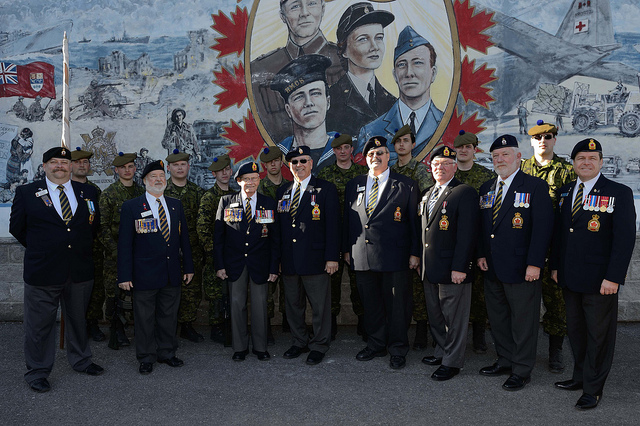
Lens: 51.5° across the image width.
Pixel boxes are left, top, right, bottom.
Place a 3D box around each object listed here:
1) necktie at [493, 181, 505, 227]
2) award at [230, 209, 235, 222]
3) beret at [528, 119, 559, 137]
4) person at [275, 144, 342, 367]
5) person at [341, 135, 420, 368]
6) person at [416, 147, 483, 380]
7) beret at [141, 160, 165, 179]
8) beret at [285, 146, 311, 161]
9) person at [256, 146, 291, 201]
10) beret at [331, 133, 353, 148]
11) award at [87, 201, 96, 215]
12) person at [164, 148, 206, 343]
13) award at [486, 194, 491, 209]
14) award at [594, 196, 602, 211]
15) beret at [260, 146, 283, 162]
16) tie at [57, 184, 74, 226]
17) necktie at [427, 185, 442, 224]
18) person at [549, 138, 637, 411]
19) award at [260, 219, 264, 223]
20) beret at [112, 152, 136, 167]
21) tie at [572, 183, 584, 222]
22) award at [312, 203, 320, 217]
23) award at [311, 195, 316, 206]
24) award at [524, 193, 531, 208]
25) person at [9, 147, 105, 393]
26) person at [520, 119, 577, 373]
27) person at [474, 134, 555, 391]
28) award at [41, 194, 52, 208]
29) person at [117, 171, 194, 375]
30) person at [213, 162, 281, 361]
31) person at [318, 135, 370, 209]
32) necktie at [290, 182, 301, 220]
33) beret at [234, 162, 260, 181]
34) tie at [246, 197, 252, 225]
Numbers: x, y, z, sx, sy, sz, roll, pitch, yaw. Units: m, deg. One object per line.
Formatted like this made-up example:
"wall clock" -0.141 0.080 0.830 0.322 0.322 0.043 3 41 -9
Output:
"necktie" 2.187 -0.113 8.123 0.103 0.573 0.086 -3 -26 37
"award" -1.144 0.028 8.652 0.059 0.145 0.028 0 5 5
"beret" 2.861 -1.085 8.565 0.241 0.137 0.253 -2 14 -7
"person" -0.139 0.519 8.889 0.885 2.789 0.960 -3 5 -30
"person" 0.824 0.476 8.751 1.199 2.893 0.863 -3 -7 33
"person" 1.604 0.604 8.241 0.815 2.833 0.535 1 5 12
"beret" -2.132 -0.546 8.422 0.228 0.087 0.201 -21 -13 36
"beret" -0.287 -0.786 8.673 0.256 0.132 0.231 -5 -3 30
"person" -0.643 -0.574 9.386 0.371 0.817 0.479 3 -5 -22
"beret" 0.309 -1.031 9.383 0.192 0.110 0.232 -15 1 32
"award" -2.924 -0.065 8.455 0.047 0.152 0.095 -20 -9 33
"person" -2.101 0.524 9.552 0.933 2.924 0.987 2 -9 -11
"award" 2.091 -0.148 8.181 0.032 0.120 0.124 15 3 17
"award" 3.230 -0.109 7.671 0.075 0.165 0.040 2 5 27
"beret" -0.675 -0.828 9.286 0.342 0.209 0.229 -2 5 -23
"tie" -3.186 -0.084 8.269 0.171 0.496 0.027 -15 -4 -23
"necktie" 1.429 -0.146 8.329 0.093 0.636 0.030 6 -24 47
"person" 3.166 0.681 7.724 0.911 3.057 0.551 2 5 22
"award" -0.756 0.106 8.646 0.048 0.041 0.011 -2 5 -19
"beret" -2.769 -0.754 9.362 0.200 0.119 0.229 -10 -1 27
"tie" 3.041 -0.132 7.786 0.080 0.530 0.062 7 -22 25
"award" -0.053 -0.032 8.656 0.127 0.174 0.047 0 2 -1
"award" -0.082 -0.172 8.666 0.058 0.121 0.028 0 4 0
"award" 2.499 -0.154 7.961 0.058 0.164 0.035 2 5 24
"person" -3.278 0.644 8.242 0.992 2.882 0.547 -2 5 -25
"person" 3.025 0.381 8.647 0.966 2.922 0.729 -1 -5 4
"person" 2.417 0.610 8.270 0.808 3.016 1.150 0 1 -27
"award" -3.382 -0.150 8.196 0.115 0.139 0.036 -2 5 -16
"person" -2.151 0.713 8.675 1.130 2.588 0.673 -3 3 -44
"person" -0.946 0.643 8.822 0.967 2.596 0.664 -1 -3 3
"person" 0.362 -0.553 9.179 1.059 1.015 0.312 -1 -11 0
"necktie" -0.319 -0.144 8.712 0.082 0.594 0.064 8 -19 11
"beret" -0.954 -0.561 8.716 0.269 0.202 0.359 -1 5 -5
"tie" -0.925 0.000 8.658 0.074 0.265 0.053 -1 5 -6
